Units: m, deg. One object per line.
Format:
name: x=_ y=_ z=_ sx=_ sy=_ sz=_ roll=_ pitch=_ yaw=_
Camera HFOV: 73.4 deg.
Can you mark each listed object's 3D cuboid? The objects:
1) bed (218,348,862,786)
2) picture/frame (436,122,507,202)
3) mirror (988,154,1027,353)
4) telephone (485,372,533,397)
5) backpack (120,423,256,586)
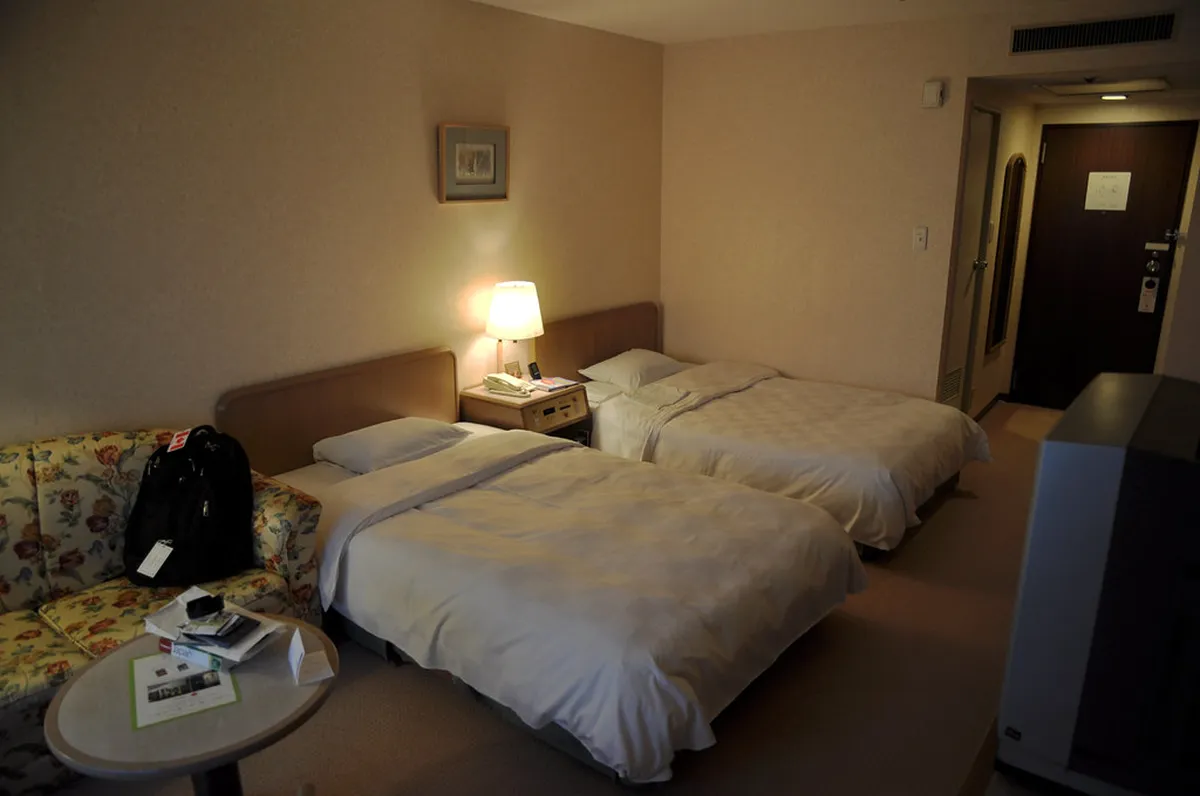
bed: x=-0.502 y=0.638 z=4.102 sx=2.698 sy=1.126 sz=1.858 roll=17 pitch=28 yaw=35
picture/frame: x=-0.851 y=-1.543 z=5.222 sx=0.053 sy=0.438 sz=0.512 roll=13 pitch=18 yaw=41
mirror: x=3.473 y=-1.245 z=6.857 sx=0.099 sy=1.587 sz=0.731 roll=9 pitch=17 yaw=32
telephone: x=-0.594 y=-0.091 z=5.373 sx=0.213 sy=0.078 sz=0.162 roll=9 pitch=18 yaw=26
backpack: x=-1.959 y=0.535 z=3.829 sx=0.597 sy=0.859 sz=0.462 roll=1 pitch=-12 yaw=6
